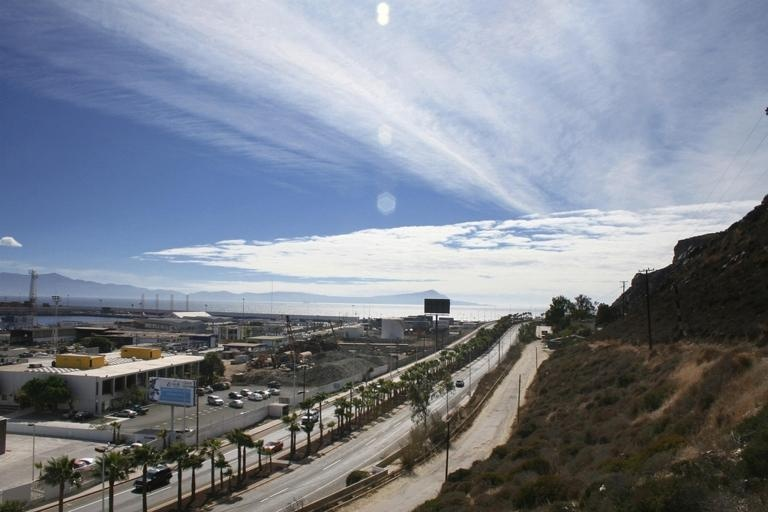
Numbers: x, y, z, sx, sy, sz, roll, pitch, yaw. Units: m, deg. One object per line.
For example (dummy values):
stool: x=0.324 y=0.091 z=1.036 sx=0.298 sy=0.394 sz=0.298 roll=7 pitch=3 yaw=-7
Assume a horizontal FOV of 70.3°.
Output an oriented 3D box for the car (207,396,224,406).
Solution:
car: x=-38.407 y=32.826 z=123.318 sx=3.289 sy=1.210 sz=1.726 roll=-2 pitch=-4 yaw=31

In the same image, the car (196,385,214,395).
car: x=-43.313 y=32.706 z=132.757 sx=2.615 sy=1.754 sz=4.932 roll=0 pitch=-3 yaw=0

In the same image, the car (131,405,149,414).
car: x=-51.873 y=32.515 z=115.473 sx=2.889 sy=0.726 sz=1.633 roll=3 pitch=-1 yaw=12

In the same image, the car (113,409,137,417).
car: x=-53.345 y=32.691 z=113.295 sx=4.142 sy=1.186 sz=3.095 roll=-1 pitch=-3 yaw=11

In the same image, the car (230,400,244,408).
car: x=-33.049 y=33.282 z=122.257 sx=2.408 sy=0.961 sz=1.382 roll=2 pitch=-4 yaw=19
